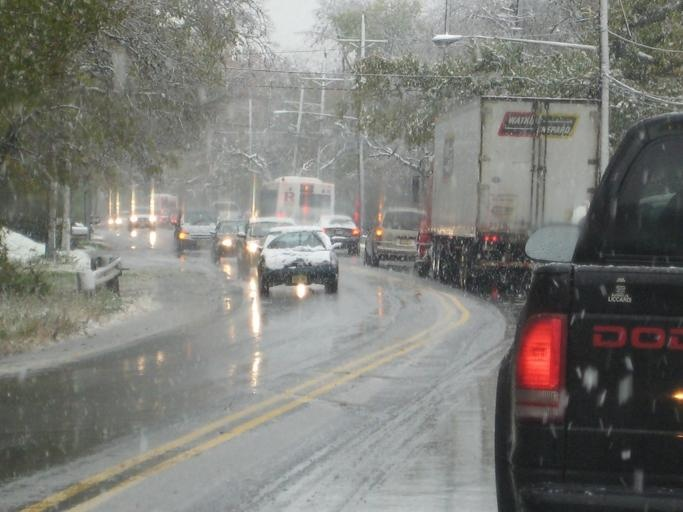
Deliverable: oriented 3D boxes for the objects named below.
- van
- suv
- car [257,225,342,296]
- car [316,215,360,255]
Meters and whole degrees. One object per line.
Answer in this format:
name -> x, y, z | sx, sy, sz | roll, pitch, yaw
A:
van -> 1.723, -0.700, 32.490 | 1.574, 2.149, 2.358 | 2, 6, -2
suv -> -2.619, -0.374, 29.238 | 1.069, 1.490, 2.948 | 0, 1, -9
car -> -1.090, 0.122, 22.629 | 1.437, 1.738, 2.387 | 0, 4, -9
car -> -0.118, -0.766, 40.946 | 1.411, 1.750, 1.963 | 2, 6, -4
